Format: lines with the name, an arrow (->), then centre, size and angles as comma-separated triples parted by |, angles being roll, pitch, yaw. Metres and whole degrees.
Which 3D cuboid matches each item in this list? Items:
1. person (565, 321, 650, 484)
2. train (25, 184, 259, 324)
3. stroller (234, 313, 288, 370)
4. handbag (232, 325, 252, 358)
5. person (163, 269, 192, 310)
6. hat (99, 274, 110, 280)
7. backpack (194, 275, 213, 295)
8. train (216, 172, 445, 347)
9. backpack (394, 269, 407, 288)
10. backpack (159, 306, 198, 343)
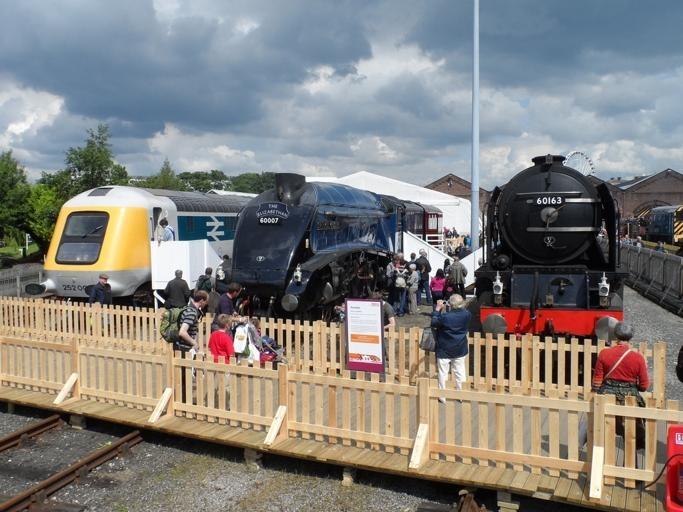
person -> 3.890, 1.931, 8.574 | 0.862, 1.960, 1.443 | 3, 0, 23
train -> -6.367, -0.574, 24.076 | 2.959, 3.813, 13.353 | 2, 4, 14
stroller -> -1.509, 1.570, 10.913 | 0.797, 0.549, 1.112 | 14, -10, 38
handbag -> -1.687, 1.450, 10.443 | 0.316, 0.594, 0.196 | 1, 18, -9
person -> -4.443, 1.105, 16.070 | 0.632, 1.502, 0.476 | 6, 22, -21
hat -> -6.659, 0.577, 16.794 | 0.140, 0.161, 0.174 | -1, -8, -37
backpack -> -3.611, 0.762, 15.797 | 0.502, 0.519, 0.302 | 2, -5, 2
train -> -0.319, -0.396, 20.167 | 2.935, 3.985, 11.351 | 5, 4, 18
backpack -> 1.847, 0.717, 18.837 | 0.534, 0.785, 0.437 | 1, -4, 2
backpack -> -2.932, 1.275, 10.803 | 0.612, 0.684, 0.460 | 4, -18, -14
